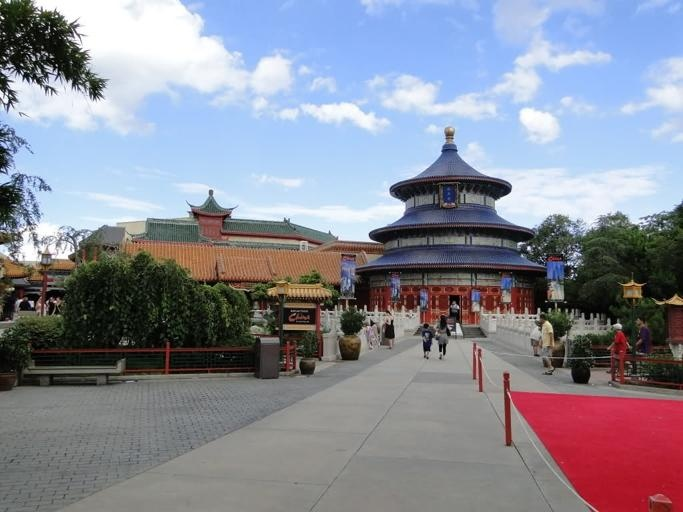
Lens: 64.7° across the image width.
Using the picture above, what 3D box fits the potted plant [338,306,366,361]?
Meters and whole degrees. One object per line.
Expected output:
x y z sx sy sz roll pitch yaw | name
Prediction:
0.498 3.779 26.555 1.089 2.604 2.982 1 -8 1 | potted plant

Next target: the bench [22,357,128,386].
-8.472 3.695 17.023 2.978 0.790 1.090 1 -8 -1 | bench

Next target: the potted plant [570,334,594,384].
9.153 3.973 20.500 0.901 2.141 0.911 5 -29 8 | potted plant
